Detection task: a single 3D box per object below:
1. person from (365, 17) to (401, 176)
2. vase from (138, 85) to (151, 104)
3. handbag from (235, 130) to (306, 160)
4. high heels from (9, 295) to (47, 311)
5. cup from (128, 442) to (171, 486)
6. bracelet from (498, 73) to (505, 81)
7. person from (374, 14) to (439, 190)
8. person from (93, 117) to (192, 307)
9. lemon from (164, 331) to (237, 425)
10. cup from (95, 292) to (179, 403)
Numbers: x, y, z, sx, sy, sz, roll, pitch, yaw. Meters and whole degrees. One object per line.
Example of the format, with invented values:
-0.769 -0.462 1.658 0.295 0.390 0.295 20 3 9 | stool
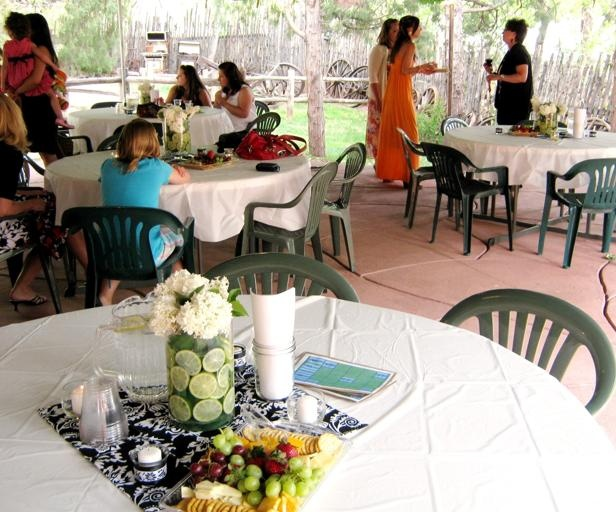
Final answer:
1.023 -2.420 6.616 0.445 1.840 0.466 4 20 2 | person
-1.974 -1.967 5.457 0.147 0.242 0.266 -7 18 -18 | vase
-0.305 -0.910 3.709 0.575 0.213 0.365 -6 18 -14 | handbag
-2.047 0.338 3.311 0.242 0.079 0.102 -10 14 -20 | high heels
-0.271 0.356 0.773 0.060 0.048 0.061 2 10 0 | cup
2.418 -2.212 5.583 0.077 0.074 0.025 3 6 32 | bracelet
1.252 -2.034 6.057 0.812 2.445 0.855 5 20 5 | person
-1.001 -0.282 2.833 0.482 1.076 0.488 0 15 2 | person
-0.207 0.233 0.960 0.134 0.197 0.159 -4 20 -11 | lemon
-0.385 0.221 1.077 0.197 0.285 0.192 1 21 0 | cup
